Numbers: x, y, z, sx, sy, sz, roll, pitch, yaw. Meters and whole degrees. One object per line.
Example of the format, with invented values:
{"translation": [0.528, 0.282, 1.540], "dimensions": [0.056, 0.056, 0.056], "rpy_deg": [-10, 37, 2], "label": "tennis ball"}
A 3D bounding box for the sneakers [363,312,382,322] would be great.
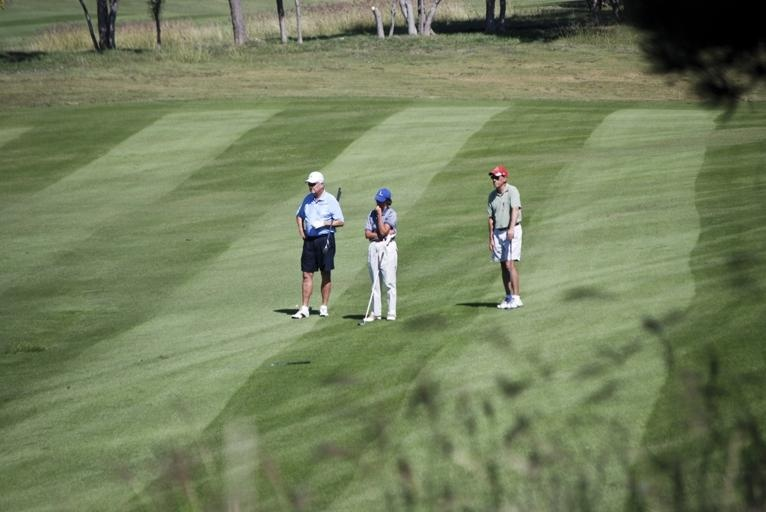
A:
{"translation": [-0.159, 0.843, 10.466], "dimensions": [0.116, 0.090, 0.203], "rpy_deg": [-4, -6, 25], "label": "sneakers"}

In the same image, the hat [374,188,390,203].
{"translation": [0.010, -0.831, 10.580], "dimensions": [0.166, 0.146, 0.251], "rpy_deg": [14, 15, 19], "label": "hat"}

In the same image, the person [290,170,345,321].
{"translation": [-0.961, -0.135, 11.004], "dimensions": [0.738, 2.052, 0.979], "rpy_deg": [0, 19, 13], "label": "person"}

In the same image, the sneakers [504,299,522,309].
{"translation": [1.729, 0.637, 10.062], "dimensions": [0.266, 0.123, 0.099], "rpy_deg": [-7, 11, 6], "label": "sneakers"}

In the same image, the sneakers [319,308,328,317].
{"translation": [-0.864, 0.809, 10.907], "dimensions": [0.108, 0.123, 0.295], "rpy_deg": [-1, -4, -2], "label": "sneakers"}

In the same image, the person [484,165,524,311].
{"translation": [1.654, -0.260, 10.331], "dimensions": [0.428, 1.765, 1.059], "rpy_deg": [-1, 18, 9], "label": "person"}

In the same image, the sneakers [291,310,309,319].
{"translation": [-1.179, 0.830, 10.884], "dimensions": [0.270, 0.117, 0.099], "rpy_deg": [2, 13, 8], "label": "sneakers"}

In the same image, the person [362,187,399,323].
{"translation": [-0.068, 0.031, 10.547], "dimensions": [0.507, 1.807, 0.833], "rpy_deg": [-3, 18, 3], "label": "person"}
